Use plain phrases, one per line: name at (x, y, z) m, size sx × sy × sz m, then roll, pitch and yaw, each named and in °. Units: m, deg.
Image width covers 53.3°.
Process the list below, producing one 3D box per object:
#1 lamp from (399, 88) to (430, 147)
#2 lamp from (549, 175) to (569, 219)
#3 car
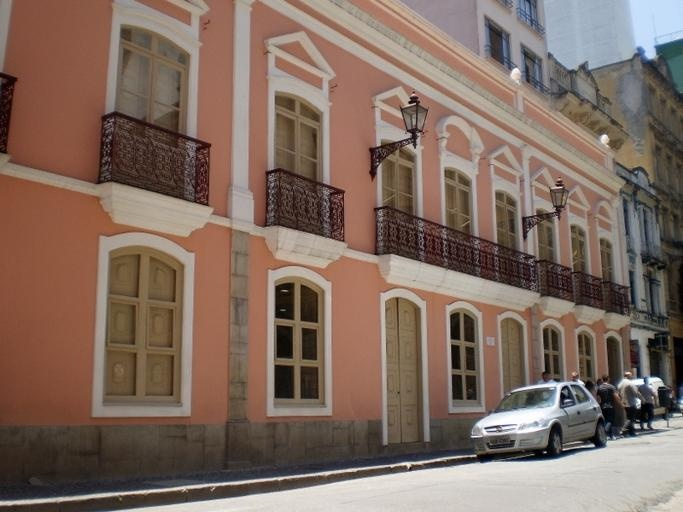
lamp at (1.984, -3.715, 18.328) m, size 0.809 × 1.543 × 0.804 m, roll -8°, pitch -16°, yaw 29°
lamp at (7.789, -2.054, 24.233) m, size 0.692 × 1.414 × 0.766 m, roll 6°, pitch -15°, yaw -8°
car at (4.857, 4.011, 16.751) m, size 3.300 × 1.858 × 1.672 m, roll 11°, pitch -22°, yaw -37°
